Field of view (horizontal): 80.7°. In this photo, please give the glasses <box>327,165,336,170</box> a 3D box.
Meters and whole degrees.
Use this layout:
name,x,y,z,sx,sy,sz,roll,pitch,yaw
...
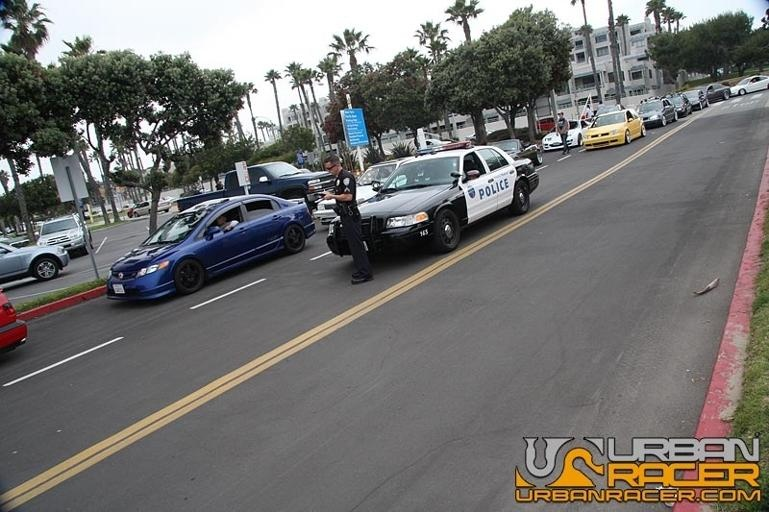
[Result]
name,x,y,z,sx,sy,sz,roll,pitch,yaw
glasses,-1.056,-1.741,8.824,0.119,0.040,0.115,-7,7,-26

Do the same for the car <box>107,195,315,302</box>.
name,x,y,z,sx,sy,sz,roll,pitch,yaw
car,-4.247,-0.393,12.467,2.284,1.832,5.670,3,13,40

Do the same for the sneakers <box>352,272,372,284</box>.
name,x,y,z,sx,sy,sz,roll,pitch,yaw
sneakers,-0.460,0.428,9.116,0.381,0.177,0.199,1,0,-25

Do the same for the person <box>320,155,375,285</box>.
name,x,y,z,sx,sy,sz,roll,pitch,yaw
person,-0.753,-0.778,9.161,0.602,2.547,1.345,-11,13,-3

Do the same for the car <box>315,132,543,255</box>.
name,x,y,z,sx,sy,sz,roll,pitch,yaw
car,1.596,-1.678,11.266,2.245,1.924,5.697,1,14,39
